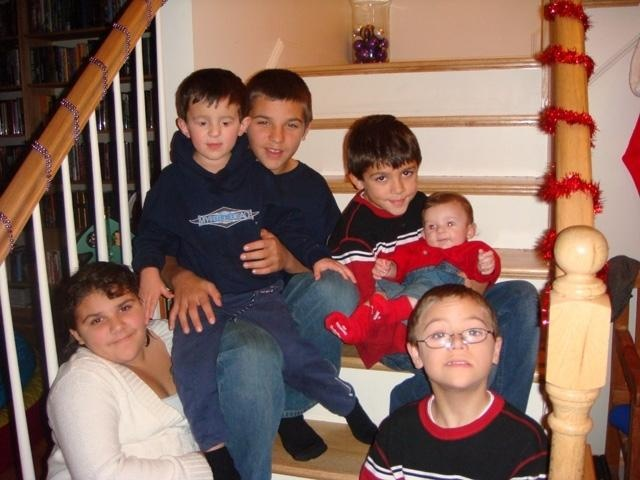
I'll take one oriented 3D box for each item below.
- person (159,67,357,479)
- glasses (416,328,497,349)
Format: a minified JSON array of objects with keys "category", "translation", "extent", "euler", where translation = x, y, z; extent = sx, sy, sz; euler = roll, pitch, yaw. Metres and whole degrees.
[{"category":"person","translation":[-0.177,0.043,1.944],"extent":[0.680,1.360,0.507],"euler":[-3,5,-22]},{"category":"glasses","translation":[0.392,0.284,1.643],"extent":[0.207,0.064,0.043],"euler":[0,4,12]}]
